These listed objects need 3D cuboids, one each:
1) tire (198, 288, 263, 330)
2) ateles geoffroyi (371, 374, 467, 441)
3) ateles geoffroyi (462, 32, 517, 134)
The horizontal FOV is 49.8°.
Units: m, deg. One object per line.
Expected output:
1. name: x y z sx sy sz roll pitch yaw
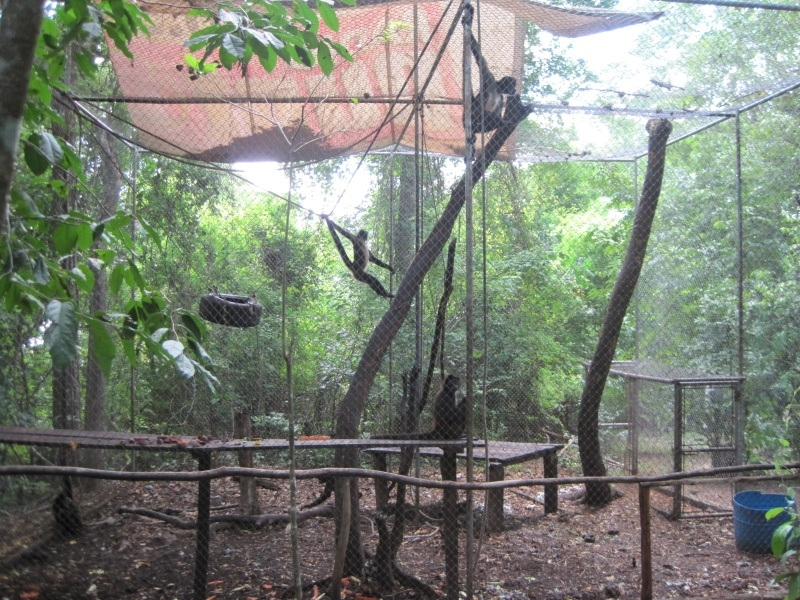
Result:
1. tire: -1.942 0.136 9.839 0.468 0.200 0.486 10 3 -4
2. ateles geoffroyi: 0.324 1.089 8.632 0.690 0.643 0.537 1 -4 3
3. ateles geoffroyi: 1.090 -2.341 9.486 0.324 0.732 0.725 7 -23 38
